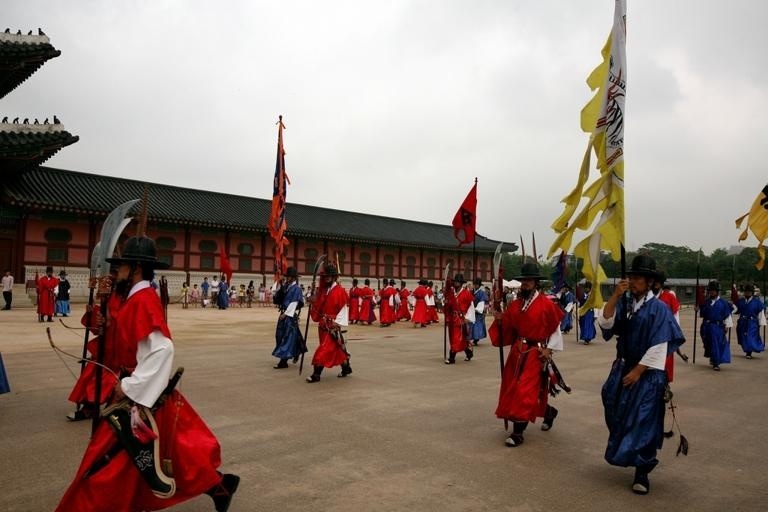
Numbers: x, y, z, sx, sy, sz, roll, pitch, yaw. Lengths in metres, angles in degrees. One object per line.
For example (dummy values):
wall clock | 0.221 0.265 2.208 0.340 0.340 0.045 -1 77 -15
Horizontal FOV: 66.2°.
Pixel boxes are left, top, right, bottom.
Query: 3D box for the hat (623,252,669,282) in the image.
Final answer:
hat | 3.171 0.149 7.421 0.666 0.322 0.777 3 0 0

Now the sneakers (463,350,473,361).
sneakers | 1.974 2.343 13.911 0.126 0.287 0.371 -12 -20 27

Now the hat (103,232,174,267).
hat | -2.591 -0.054 6.282 0.630 0.255 0.602 2 -3 19

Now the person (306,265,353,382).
person | -0.998 1.224 11.134 0.781 2.169 0.851 1 -4 -3

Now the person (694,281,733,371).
person | 7.501 1.532 13.360 0.628 1.950 0.943 -1 -4 29

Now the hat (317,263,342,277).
hat | -1.088 0.272 11.579 0.444 0.213 0.523 1 3 4

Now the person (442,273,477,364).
person | 1.828 1.484 14.125 0.843 2.052 1.231 0 -2 32

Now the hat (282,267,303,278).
hat | -1.860 0.335 11.917 0.310 0.178 0.365 1 2 1

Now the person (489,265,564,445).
person | 1.990 1.293 8.122 0.902 2.465 0.683 0 -4 11

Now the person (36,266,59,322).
person | -11.030 1.235 19.346 0.541 1.756 1.478 3 -4 -30

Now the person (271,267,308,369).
person | -1.920 1.250 12.122 0.647 2.038 1.158 2 -4 -10

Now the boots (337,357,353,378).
boots | -0.792 2.157 11.359 0.376 0.439 0.207 5 -6 -28

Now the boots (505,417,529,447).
boots | 1.757 2.368 7.833 0.208 0.418 0.418 -4 -25 34

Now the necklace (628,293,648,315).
necklace | 3.046 0.561 7.079 0.118 0.243 0.167 -8 18 -25

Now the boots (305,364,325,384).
boots | -1.284 2.150 10.904 0.283 0.281 0.546 2 -4 -8

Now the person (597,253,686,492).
person | 2.990 1.335 6.921 0.855 2.729 0.534 0 -4 20

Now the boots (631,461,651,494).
boots | 2.977 2.539 6.810 0.254 0.318 0.270 1 -4 7

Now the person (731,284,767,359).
person | 9.424 1.669 15.200 0.622 1.884 1.024 -2 -5 33

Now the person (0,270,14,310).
person | -14.738 1.307 23.137 0.371 1.492 1.730 4 -5 -33

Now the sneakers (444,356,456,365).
sneakers | 1.491 2.332 13.223 0.195 0.139 0.547 0 -4 9
